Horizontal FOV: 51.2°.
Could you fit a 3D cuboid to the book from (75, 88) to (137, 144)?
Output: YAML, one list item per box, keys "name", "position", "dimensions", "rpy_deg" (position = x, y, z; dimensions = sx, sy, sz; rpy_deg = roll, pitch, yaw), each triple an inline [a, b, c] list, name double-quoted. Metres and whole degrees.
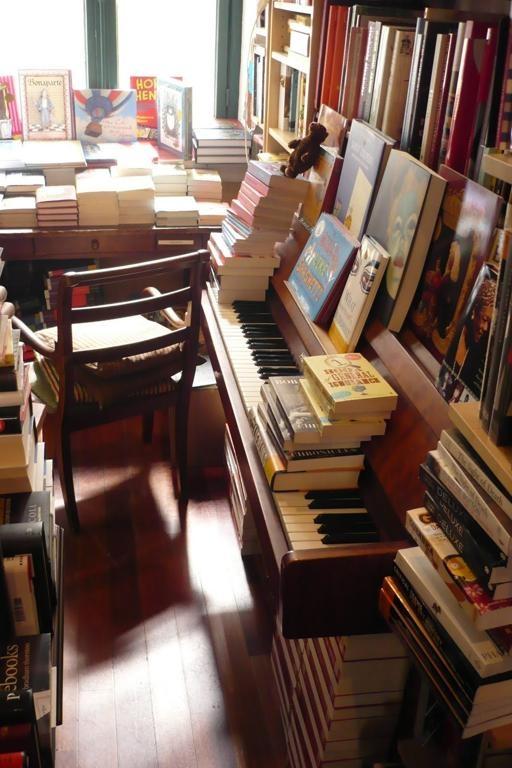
- name: "book"
  position: [-0.863, -1.531, 3.008]
  dimensions: [0.286, 0.293, 0.109]
  rpy_deg: [1, 32, -5]

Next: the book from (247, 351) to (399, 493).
- name: "book"
  position: [0.113, 0.050, 0.980]
  dimensions: [0.216, 0.120, 0.251]
  rpy_deg: [-15, 53, -2]

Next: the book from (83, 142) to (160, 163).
- name: "book"
  position: [-0.762, -1.310, 3.004]
  dimensions: [0.409, 0.069, 0.366]
  rpy_deg: [-5, 34, -18]

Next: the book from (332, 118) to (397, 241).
- name: "book"
  position: [0.249, -0.494, 1.294]
  dimensions: [0.056, 0.266, 0.268]
  rpy_deg: [6, 21, -16]

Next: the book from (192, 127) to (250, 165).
- name: "book"
  position: [-0.197, -1.315, 3.007]
  dimensions: [0.209, 0.114, 0.238]
  rpy_deg: [-2, 36, -6]

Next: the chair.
- name: "chair"
  position: [-0.513, 0.067, 1.985]
  dimensions: [0.601, 1.126, 0.706]
  rpy_deg: [-14, 42, -25]

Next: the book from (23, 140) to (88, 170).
- name: "book"
  position: [-1.075, -1.228, 2.831]
  dimensions: [0.253, 0.032, 0.310]
  rpy_deg: [-6, 46, -19]

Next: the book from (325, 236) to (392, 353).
- name: "book"
  position: [0.227, -0.192, 1.162]
  dimensions: [0.028, 0.241, 0.174]
  rpy_deg: [14, 36, -12]
